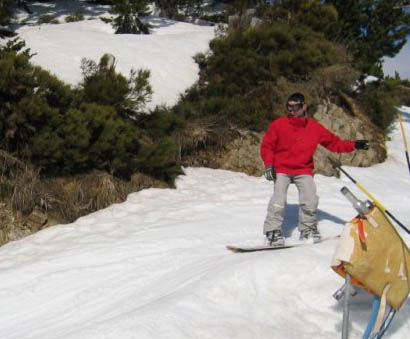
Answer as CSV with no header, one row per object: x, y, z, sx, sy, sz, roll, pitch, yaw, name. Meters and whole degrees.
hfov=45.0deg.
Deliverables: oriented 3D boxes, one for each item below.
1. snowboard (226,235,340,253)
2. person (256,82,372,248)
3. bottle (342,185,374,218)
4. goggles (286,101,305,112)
1.064,1.108,7.119,1.500,0.269,0.527,0,11,-1,snowboard
1.446,-0.054,7.557,1.179,2.191,0.880,1,10,6,person
1.630,0.309,5.334,0.396,0.223,0.118,45,12,5,bottle
1.399,-0.979,7.659,0.272,0.156,0.178,2,11,12,goggles
